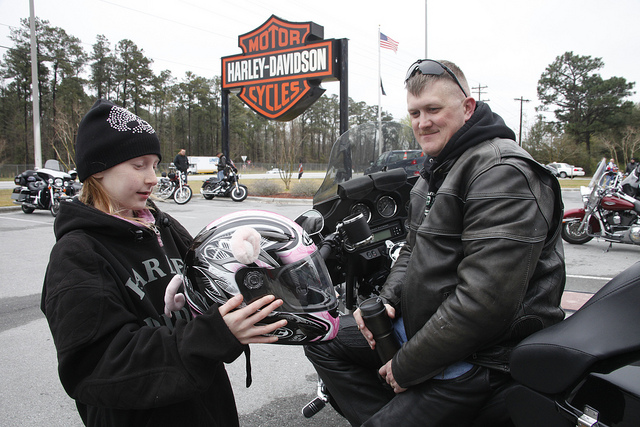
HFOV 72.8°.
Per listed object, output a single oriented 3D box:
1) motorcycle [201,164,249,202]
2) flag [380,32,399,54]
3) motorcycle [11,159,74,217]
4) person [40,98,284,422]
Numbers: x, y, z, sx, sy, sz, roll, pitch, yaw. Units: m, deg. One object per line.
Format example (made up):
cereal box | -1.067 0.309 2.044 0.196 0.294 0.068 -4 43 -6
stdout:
motorcycle | -3.568 -1.161 17.118 2.022 1.273 1.053 3 5 25
flag | 3.298 -8.311 21.009 0.816 0.954 0.695 1 8 7
motorcycle | -8.385 -0.743 13.077 2.735 1.585 1.067 3 -6 35
person | -0.759 0.121 1.796 0.675 1.218 0.877 -5 9 -33
